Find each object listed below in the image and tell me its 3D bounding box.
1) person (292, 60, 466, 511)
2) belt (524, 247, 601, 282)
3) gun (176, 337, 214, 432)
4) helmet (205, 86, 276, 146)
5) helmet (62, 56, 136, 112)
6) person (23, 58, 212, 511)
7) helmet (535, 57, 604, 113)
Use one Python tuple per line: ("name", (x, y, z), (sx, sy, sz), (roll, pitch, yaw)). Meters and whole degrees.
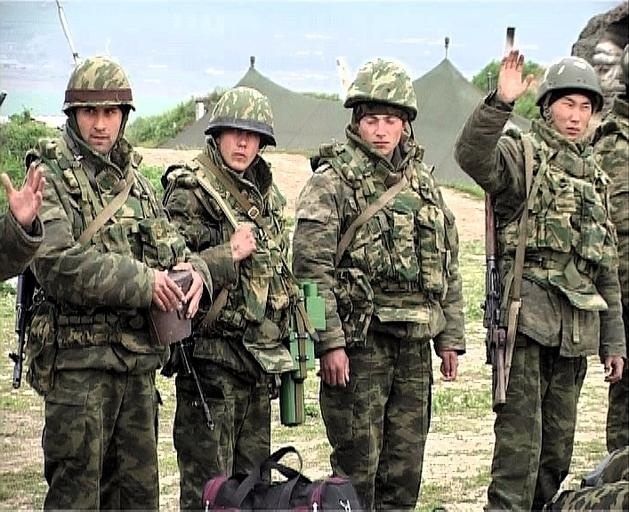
("person", (0.365, 0.168, 5.671), (0.963, 2.889, 0.371), (-1, -4, -3))
("belt", (1.610, 0.053, 5.877), (0.457, 0.190, 0.081), (-1, -4, -3))
("gun", (-0.698, 0.756, 5.336), (0.181, 0.583, 0.077), (-15, -8, 6))
("helmet", (-0.452, -0.877, 5.680), (0.436, 0.381, 0.482), (3, -7, 14))
("helmet", (-1.234, -0.987, 5.199), (0.413, 0.355, 0.445), (-2, 4, -19))
("person", (-1.134, 0.150, 4.984), (0.889, 2.618, 0.570), (1, -5, -21))
("helmet", (1.767, -1.130, 6.123), (0.404, 0.500, 0.497), (9, 2, 17))
